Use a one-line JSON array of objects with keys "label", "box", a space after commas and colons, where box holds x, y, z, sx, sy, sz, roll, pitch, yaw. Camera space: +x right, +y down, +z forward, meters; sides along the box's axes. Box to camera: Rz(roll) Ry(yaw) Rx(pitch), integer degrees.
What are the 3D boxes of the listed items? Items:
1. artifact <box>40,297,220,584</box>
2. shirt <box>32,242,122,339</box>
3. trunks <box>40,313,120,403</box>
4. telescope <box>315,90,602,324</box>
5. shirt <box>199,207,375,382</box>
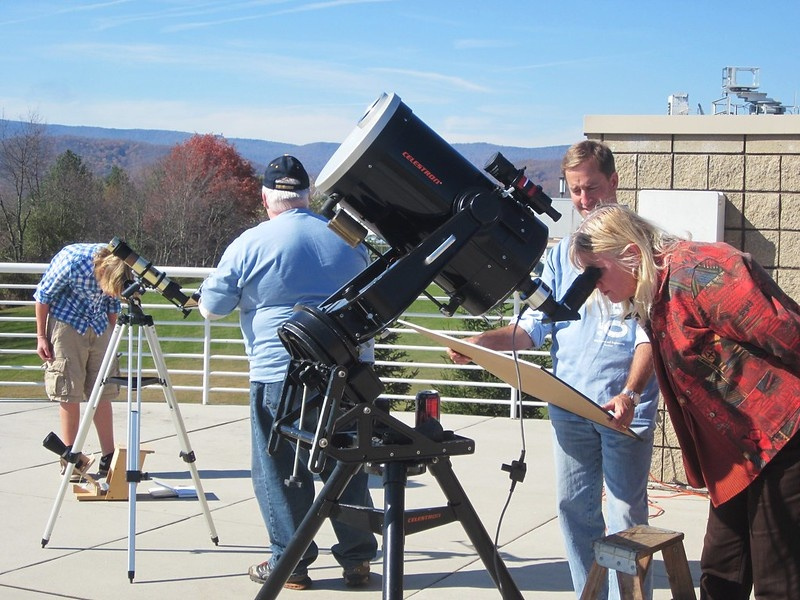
[{"label": "artifact", "box": [-1.875, 0.805, 8.681, 1.174, 1.881, 1.749, 2, 5, -16]}, {"label": "shirt", "box": [-2.479, -0.124, 9.619, 0.391, 0.655, 0.720, 8, 3, 40]}, {"label": "trunks", "box": [-2.404, 0.429, 9.305, 0.425, 0.782, 0.613, -5, -9, 44]}, {"label": "telescope", "box": [0.333, -0.441, 7.014, 1.583, 1.514, 0.883, -10, 0, -11]}, {"label": "shirt", "box": [-0.666, -0.092, 8.269, 1.304, 1.281, 1.043, -6, 3, 15]}]
